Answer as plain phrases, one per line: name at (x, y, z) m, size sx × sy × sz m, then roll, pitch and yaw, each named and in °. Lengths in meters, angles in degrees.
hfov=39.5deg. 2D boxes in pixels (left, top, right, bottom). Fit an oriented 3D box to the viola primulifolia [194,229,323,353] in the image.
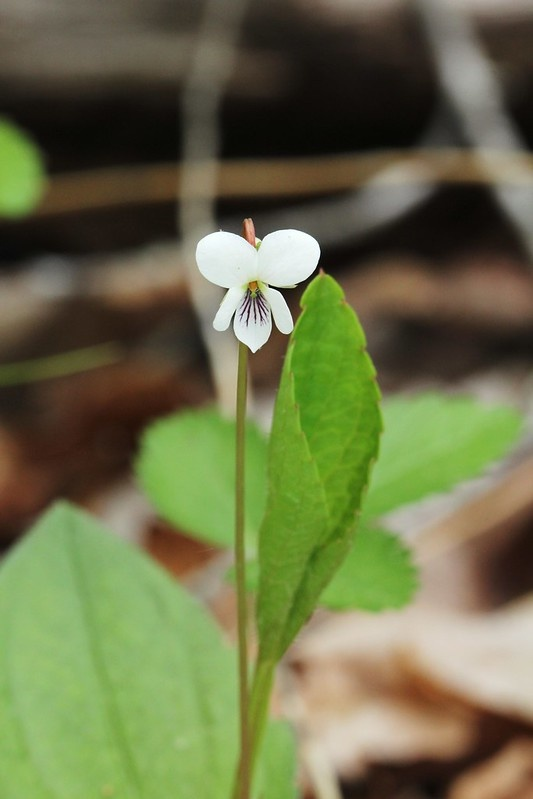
viola primulifolia at (-0.004, -0.051, 0.328) m, size 0.035 × 0.046 × 0.050 m, roll 19°, pitch 36°, yaw 42°
